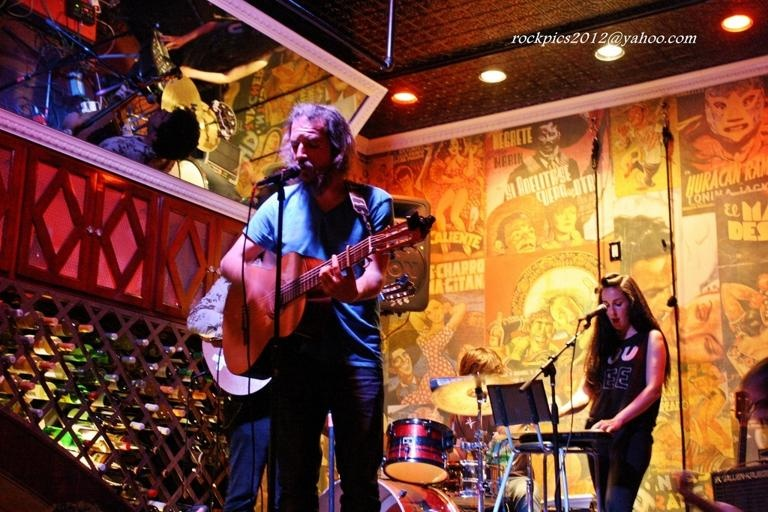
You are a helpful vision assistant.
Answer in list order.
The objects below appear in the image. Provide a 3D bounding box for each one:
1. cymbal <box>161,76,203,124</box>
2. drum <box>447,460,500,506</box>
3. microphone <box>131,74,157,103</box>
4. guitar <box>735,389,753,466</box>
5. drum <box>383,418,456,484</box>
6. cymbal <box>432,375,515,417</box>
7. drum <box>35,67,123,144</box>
[{"bbox_3d":[-1.766,-1.356,6.370,0.369,0.360,0.117,-31,29,-32],"label":"cymbal"},{"bbox_3d":[0.692,1.751,5.736,0.363,0.255,0.347,2,-28,1],"label":"drum"},{"bbox_3d":[-1.986,-1.393,6.165,0.130,0.219,0.218,2,-38,12],"label":"microphone"},{"bbox_3d":[3.085,1.463,6.381,0.146,0.612,0.062,-6,-21,20],"label":"guitar"},{"bbox_3d":[0.213,1.376,5.408,0.501,0.294,0.484,4,-35,3],"label":"drum"},{"bbox_3d":[0.610,1.068,5.743,0.460,0.105,0.473,-30,-55,35],"label":"cymbal"},{"bbox_3d":[-2.396,-1.194,5.903,0.253,0.465,0.688,-15,-25,37],"label":"drum"}]
